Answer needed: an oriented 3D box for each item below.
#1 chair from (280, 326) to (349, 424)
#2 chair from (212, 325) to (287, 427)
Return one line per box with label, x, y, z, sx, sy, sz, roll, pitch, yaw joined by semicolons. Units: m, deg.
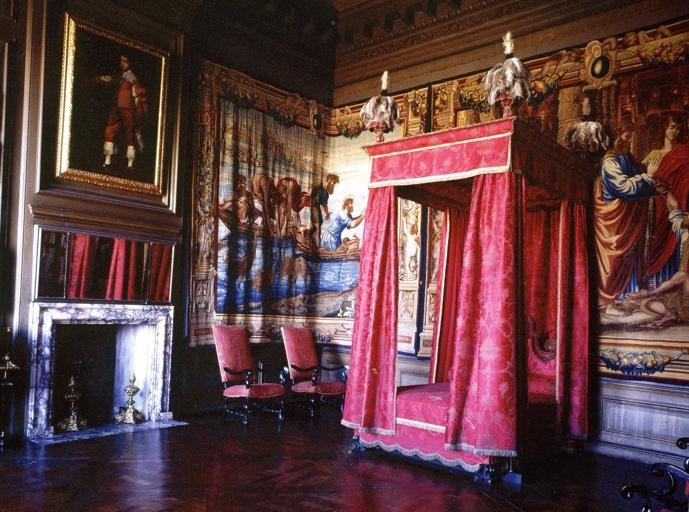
chair;-0.407;1.810;10.013;0.962;1.410;0.986;3;-6;-25
chair;-1.395;1.669;9.452;1.026;1.324;1.292;2;1;-11
